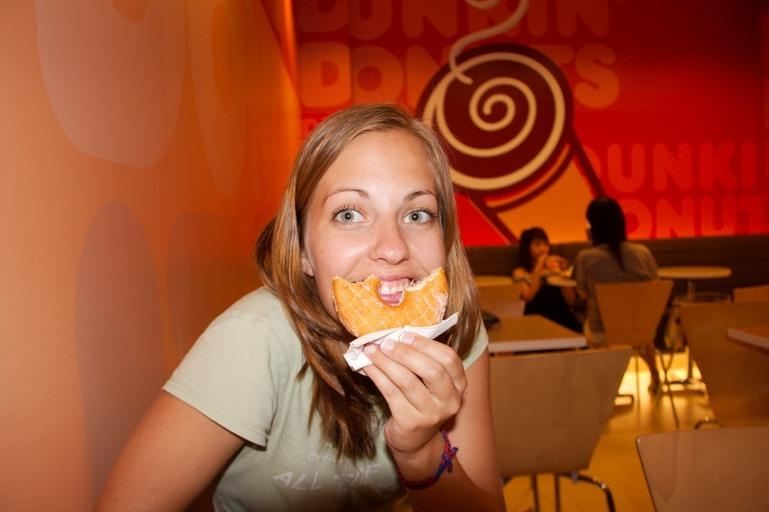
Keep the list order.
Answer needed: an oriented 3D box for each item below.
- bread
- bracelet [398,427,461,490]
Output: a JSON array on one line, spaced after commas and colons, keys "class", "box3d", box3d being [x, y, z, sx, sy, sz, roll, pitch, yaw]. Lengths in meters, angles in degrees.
[{"class": "bread", "box3d": [-0.008, 0.164, 2.015, 0.309, 0.133, 0.552, -15, 12, -6]}, {"class": "bracelet", "box3d": [0.171, 0.739, 1.972, 0.161, 0.057, 0.212, 7, 39, 34]}]
